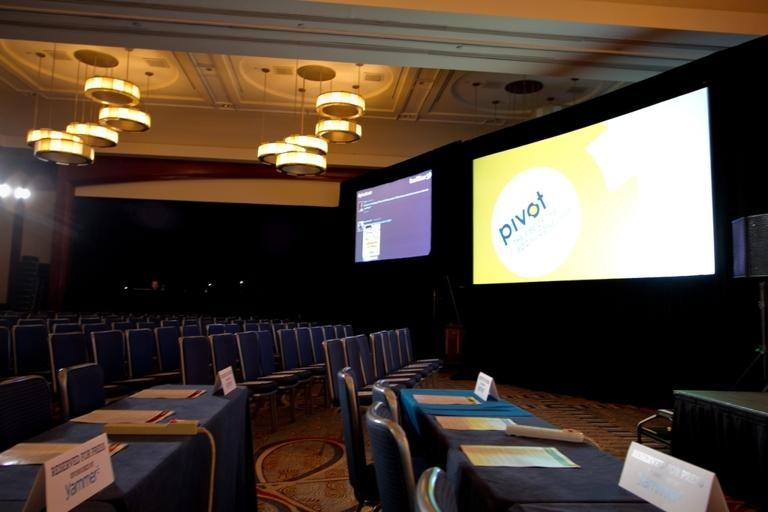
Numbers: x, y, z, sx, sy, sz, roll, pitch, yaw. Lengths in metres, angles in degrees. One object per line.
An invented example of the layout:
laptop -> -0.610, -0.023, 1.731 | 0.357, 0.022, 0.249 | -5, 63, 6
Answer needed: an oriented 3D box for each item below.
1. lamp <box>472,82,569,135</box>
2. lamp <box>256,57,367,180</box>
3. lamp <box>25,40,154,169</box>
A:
lamp -> 2.504, -2.754, 9.946 | 1.444, 0.319, 1.405 | 3, -20, -1
lamp -> -1.265, -2.516, 9.724 | 0.580, 1.301, 1.583 | 3, 10, -43
lamp -> -5.256, -2.850, 9.835 | 1.548, 1.365, 1.886 | -4, 15, -43
